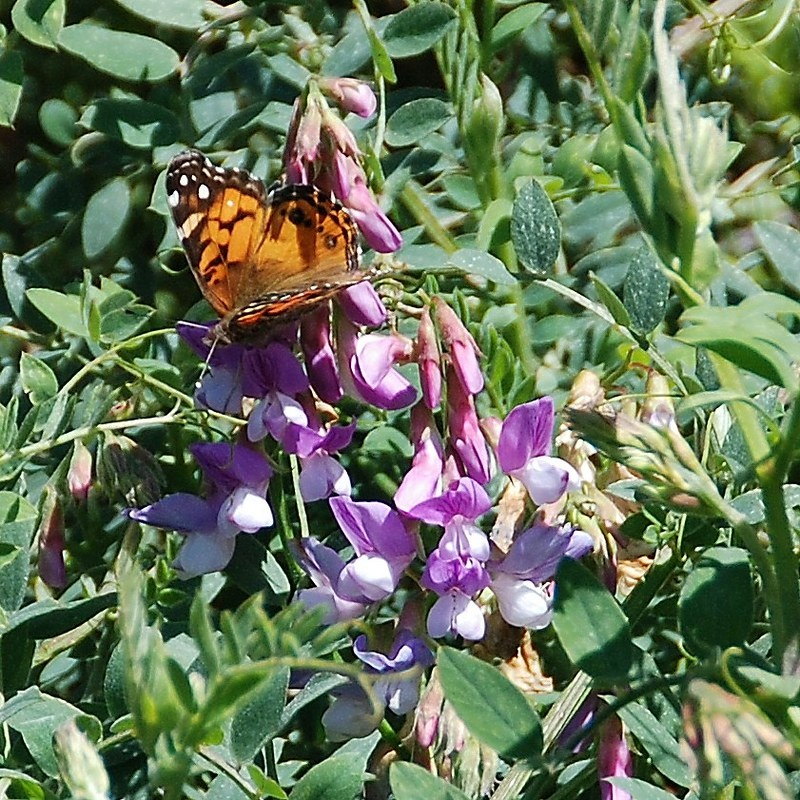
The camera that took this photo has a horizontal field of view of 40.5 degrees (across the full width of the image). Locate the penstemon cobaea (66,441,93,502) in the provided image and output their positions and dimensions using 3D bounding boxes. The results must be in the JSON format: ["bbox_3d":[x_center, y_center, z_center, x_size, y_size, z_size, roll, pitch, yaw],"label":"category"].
[{"bbox_3d":[-0.366,0.083,1.239,0.015,0.035,0.063,-15,67,44],"label":"penstemon cobaea"}]

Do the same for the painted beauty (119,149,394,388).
[{"bbox_3d":[-0.122,-0.157,1.153,0.248,0.237,0.221,-22,33,-38],"label":"painted beauty"}]

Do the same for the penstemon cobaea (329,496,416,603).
[{"bbox_3d":[-0.026,0.146,1.079,0.085,0.093,0.104,4,100,2],"label":"penstemon cobaea"}]

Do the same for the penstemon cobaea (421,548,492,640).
[{"bbox_3d":[0.054,0.192,1.070,0.065,0.050,0.085,2,82,1],"label":"penstemon cobaea"}]
